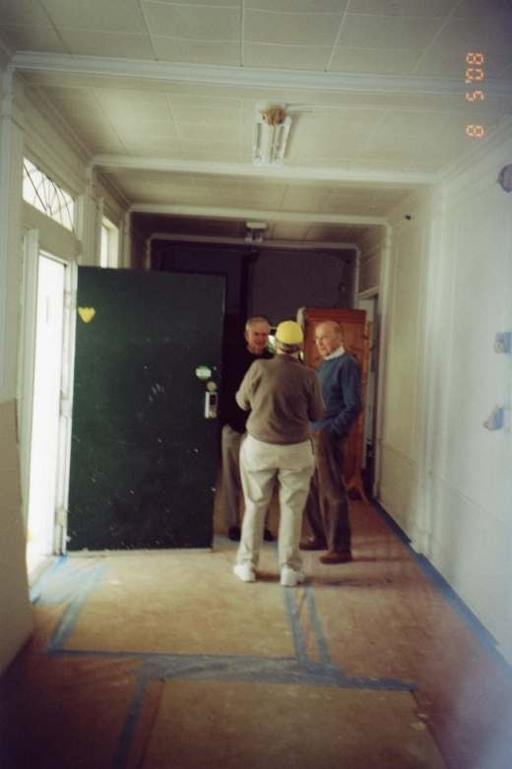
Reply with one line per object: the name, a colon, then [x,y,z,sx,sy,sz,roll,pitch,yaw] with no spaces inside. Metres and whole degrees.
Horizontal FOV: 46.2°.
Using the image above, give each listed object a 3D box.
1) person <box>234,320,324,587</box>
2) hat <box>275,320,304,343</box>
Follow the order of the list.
person: [0.116,0.349,3.341,0.395,1.472,0.416,3,9,0]
hat: [0.178,-0.277,3.233,0.133,0.129,0.163,2,4,3]
